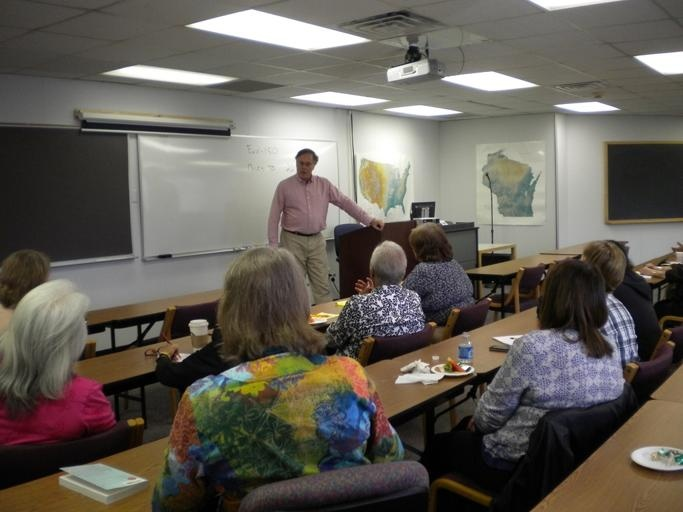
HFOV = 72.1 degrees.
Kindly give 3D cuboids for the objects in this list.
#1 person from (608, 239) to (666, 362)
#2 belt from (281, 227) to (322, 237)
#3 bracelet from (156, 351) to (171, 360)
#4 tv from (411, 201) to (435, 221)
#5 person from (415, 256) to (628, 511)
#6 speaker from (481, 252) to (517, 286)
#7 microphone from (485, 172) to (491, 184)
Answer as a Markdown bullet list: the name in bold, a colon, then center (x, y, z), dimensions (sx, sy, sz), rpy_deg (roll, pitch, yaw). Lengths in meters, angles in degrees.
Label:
- **person**: center (2.254, 0.327, 3.577), dimensions (0.513, 0.609, 0.901), rpy_deg (8, 12, 41)
- **belt**: center (-0.487, -0.280, 5.625), dimensions (0.476, 0.103, 0.138), rpy_deg (-3, 7, -3)
- **bracelet**: center (-0.805, 0.466, 2.138), dimensions (0.040, 0.030, 0.064), rpy_deg (-1, 8, -40)
- **tv**: center (1.298, -0.724, 7.460), dimensions (0.371, 0.393, 0.311), rpy_deg (-1, 12, -1)
- **person**: center (0.804, 0.620, 2.246), dimensions (0.536, 1.369, 0.818), rpy_deg (3, 17, -23)
- **speaker**: center (2.117, 0.180, 6.413), dimensions (0.256, 0.322, 0.495), rpy_deg (5, 9, 39)
- **microphone**: center (2.979, -1.585, 9.619), dimensions (0.107, 0.261, 0.060), rpy_deg (-3, 6, -5)
